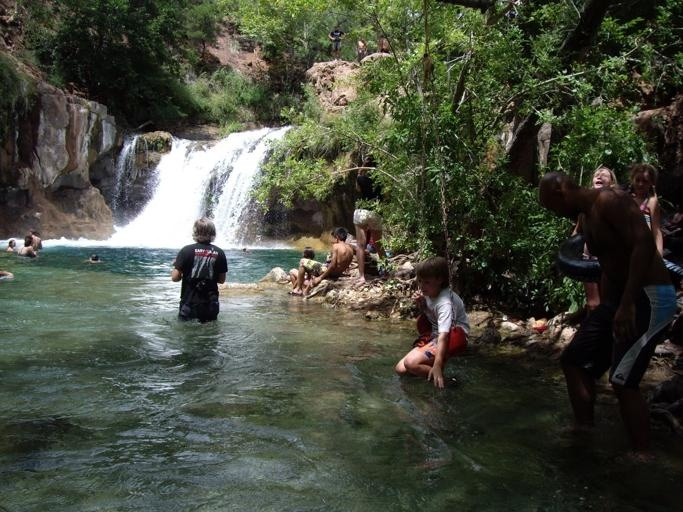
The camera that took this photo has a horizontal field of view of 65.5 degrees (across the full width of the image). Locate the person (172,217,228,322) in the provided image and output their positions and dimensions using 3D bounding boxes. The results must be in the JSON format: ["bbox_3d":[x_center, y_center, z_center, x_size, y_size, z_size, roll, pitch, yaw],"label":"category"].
[{"bbox_3d":[-1.887,0.203,7.042,0.669,1.413,0.451,0,8,-16],"label":"person"}]

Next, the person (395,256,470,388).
[{"bbox_3d":[0.927,0.628,5.038,0.673,1.237,0.968,0,8,-11],"label":"person"}]

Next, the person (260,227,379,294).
[{"bbox_3d":[-0.150,0.194,10.382,2.283,1.195,0.896,-13,-11,41],"label":"person"}]

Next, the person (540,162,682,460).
[{"bbox_3d":[1.905,0.389,3.826,0.813,1.950,0.372,9,11,41],"label":"person"}]
